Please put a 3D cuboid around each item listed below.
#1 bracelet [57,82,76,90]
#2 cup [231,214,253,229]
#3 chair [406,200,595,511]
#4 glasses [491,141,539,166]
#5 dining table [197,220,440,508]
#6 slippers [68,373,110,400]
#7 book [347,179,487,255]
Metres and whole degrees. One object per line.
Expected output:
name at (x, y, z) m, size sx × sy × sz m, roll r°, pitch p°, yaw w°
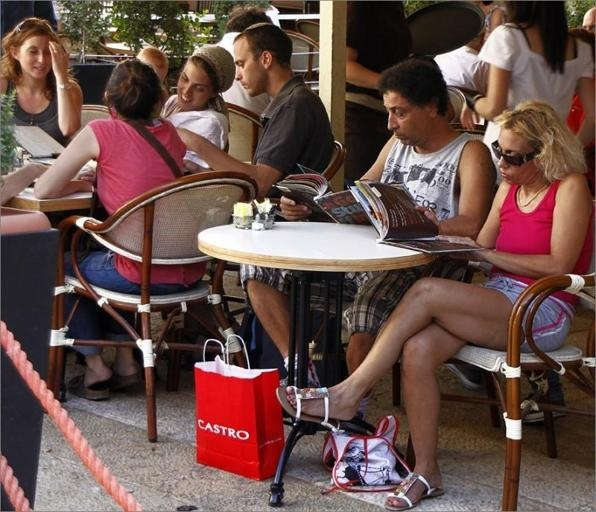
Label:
bracelet at (-1.703, -1.249, 3.953) m, size 0.123 × 0.081 × 0.028 m, roll -3°, pitch 4°, yaw -15°
cup at (-0.218, -0.136, 2.123) m, size 0.061 × 0.032 × 0.058 m, roll 0°, pitch 0°, yaw 0°
chair at (0.755, 0.452, 1.901) m, size 0.509 × 0.831 × 0.534 m, roll 6°, pitch 8°, yaw 30°
glasses at (0.807, -0.373, 1.989) m, size 0.129 × 0.033 × 0.115 m, roll -2°, pitch 27°, yaw -31°
dining table at (0.030, 0.250, 1.855) m, size 0.758 × 0.438 × 0.680 m, roll 1°, pitch 10°, yaw -4°
slippers at (-1.068, 0.685, 2.755) m, size 0.230 × 0.072 × 0.109 m, roll 8°, pitch 8°, yaw 44°
book at (0.378, -0.167, 1.909) m, size 0.317 × 0.119 × 0.362 m, roll 9°, pitch 9°, yaw -5°
